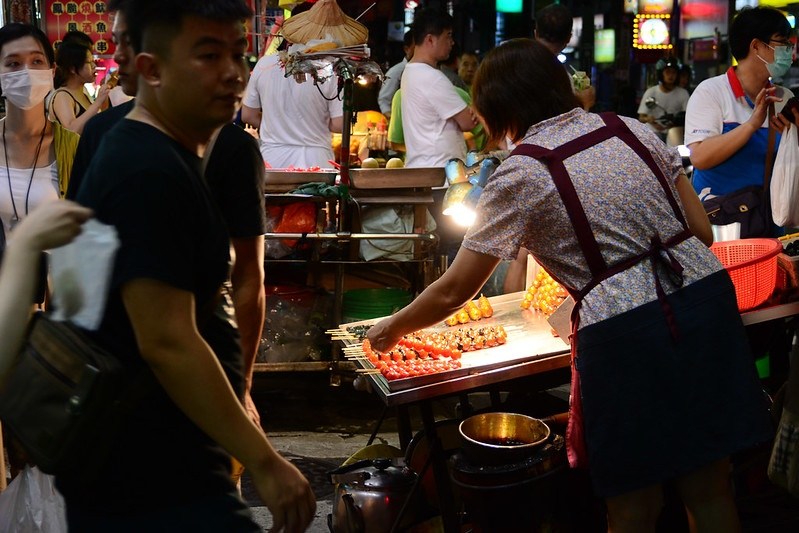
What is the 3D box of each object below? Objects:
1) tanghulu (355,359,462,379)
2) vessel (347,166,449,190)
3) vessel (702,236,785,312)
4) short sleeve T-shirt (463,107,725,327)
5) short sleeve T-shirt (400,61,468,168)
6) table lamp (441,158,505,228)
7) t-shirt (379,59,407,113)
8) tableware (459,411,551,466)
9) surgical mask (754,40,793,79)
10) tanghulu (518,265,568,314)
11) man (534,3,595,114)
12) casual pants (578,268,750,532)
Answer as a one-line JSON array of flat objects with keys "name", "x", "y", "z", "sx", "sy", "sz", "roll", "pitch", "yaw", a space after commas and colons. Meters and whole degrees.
[{"name": "tanghulu", "x": 0.103, "y": 0.500, "z": 3.325, "sx": 0.299, "sy": 0.041, "sz": 0.173, "roll": -7, "pitch": 2, "yaw": -27}, {"name": "vessel", "x": -0.016, "y": -0.706, "z": 5.445, "sx": 0.752, "sy": 0.186, "sz": 0.099, "roll": -6, "pitch": 13, "yaw": -5}, {"name": "vessel", "x": 1.962, "y": 0.019, "z": 3.855, "sx": 0.509, "sy": 0.304, "sz": 0.530, "roll": 1, "pitch": 15, "yaw": 44}, {"name": "short sleeve T-shirt", "x": 0.857, "y": -0.200, "z": 2.911, "sx": 1.050, "sy": 0.906, "sz": 0.517, "roll": -23, "pitch": 5, "yaw": -10}, {"name": "short sleeve T-shirt", "x": 0.329, "y": -1.406, "z": 6.611, "sx": 0.671, "sy": 1.068, "sz": 0.842, "roll": -13, "pitch": 17, "yaw": -22}, {"name": "table lamp", "x": 0.387, "y": -0.445, "z": 3.854, "sx": 0.262, "sy": 0.290, "sz": 0.217, "roll": 1, "pitch": -8, "yaw": 0}, {"name": "t-shirt", "x": -0.102, "y": -2.118, "z": 8.066, "sx": 0.224, "sy": 0.633, "sz": 0.450, "roll": 11, "pitch": -19, "yaw": -7}, {"name": "tableware", "x": 0.505, "y": 0.868, "z": 3.448, "sx": 0.508, "sy": 0.176, "sz": 0.507, "roll": 4, "pitch": -9, "yaw": -25}, {"name": "surgical mask", "x": 2.540, "y": -1.412, "z": 4.631, "sx": 0.222, "sy": 0.189, "sz": 0.196, "roll": 10, "pitch": 11, "yaw": 20}, {"name": "tanghulu", "x": 0.873, "y": 0.158, "z": 4.168, "sx": 0.085, "sy": 0.269, "sz": 0.262, "roll": 25, "pitch": 22, "yaw": -46}, {"name": "man", "x": 1.501, "y": -1.915, "z": 6.185, "sx": 0.513, "sy": 0.995, "sz": 1.245, "roll": -1, "pitch": 14, "yaw": 15}, {"name": "casual pants", "x": 1.115, "y": 0.434, "z": 2.831, "sx": 0.785, "sy": 0.742, "sz": 0.423, "roll": -19, "pitch": 7, "yaw": -7}]
